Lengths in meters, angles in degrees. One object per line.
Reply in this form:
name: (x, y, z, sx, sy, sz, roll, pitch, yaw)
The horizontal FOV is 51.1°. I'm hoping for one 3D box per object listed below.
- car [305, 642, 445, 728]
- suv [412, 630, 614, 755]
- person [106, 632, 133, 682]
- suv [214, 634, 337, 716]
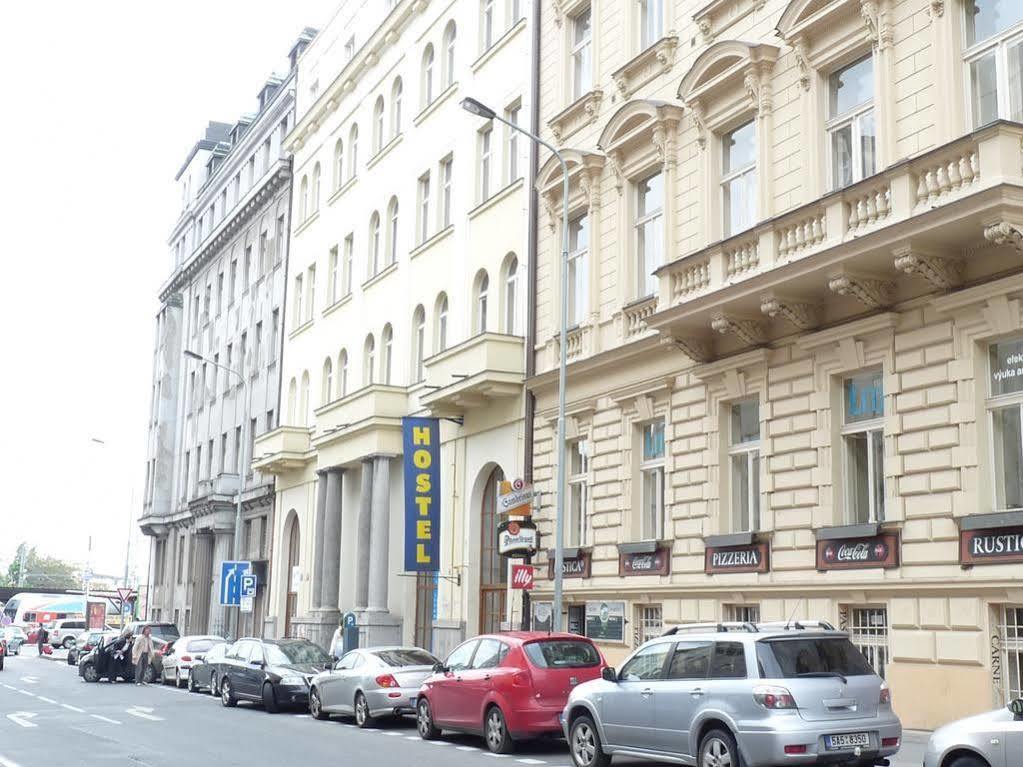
car: (-3.151, 6.553, 23.452, 1.500, 1.246, 3.427, 7, -15, -28)
suv: (-0.147, 5.519, 19.492, 1.767, 1.534, 3.293, 7, -15, -30)
person: (-13.272, 9.283, 36.532, 0.546, 1.553, 0.461, 15, -1, -23)
suv: (-6.075, 7.258, 26.924, 1.501, 1.171, 3.032, 10, -23, -30)
